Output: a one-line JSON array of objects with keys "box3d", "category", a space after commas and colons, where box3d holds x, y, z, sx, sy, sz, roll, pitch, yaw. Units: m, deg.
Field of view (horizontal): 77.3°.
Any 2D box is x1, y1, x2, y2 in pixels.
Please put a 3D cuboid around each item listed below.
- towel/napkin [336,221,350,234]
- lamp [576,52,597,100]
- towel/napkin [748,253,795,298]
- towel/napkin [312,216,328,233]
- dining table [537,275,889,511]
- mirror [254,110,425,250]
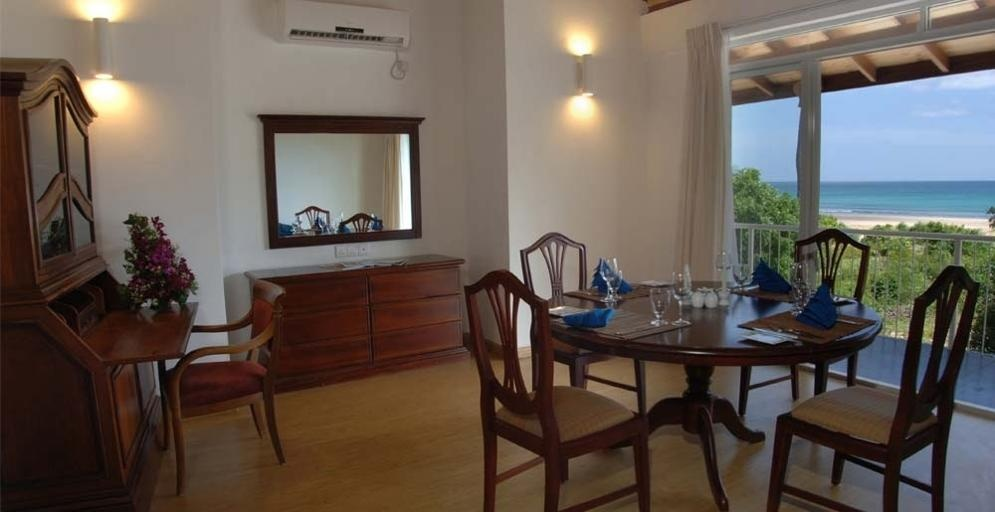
[{"box3d": [-1.737, -0.321, 6.998, 0.124, 0.202, 0.131, -5, 14, -17], "category": "towel/napkin"}, {"box3d": [0.987, -2.036, 7.037, 0.216, 0.480, 0.081, -5, 9, -24], "category": "lamp"}, {"box3d": [2.401, 0.172, 5.503, 0.328, 0.120, 0.319, 16, 18, 15], "category": "towel/napkin"}, {"box3d": [-1.964, -0.341, 6.921, 0.187, 0.167, 0.125, -4, 12, -22], "category": "towel/napkin"}, {"box3d": [1.589, 1.033, 4.907, 2.091, 0.917, 2.008, -3, 5, -19], "category": "dining table"}, {"box3d": [-1.848, -0.877, 6.939, 1.735, 1.287, 0.174, -4, 11, -20], "category": "mirror"}]
